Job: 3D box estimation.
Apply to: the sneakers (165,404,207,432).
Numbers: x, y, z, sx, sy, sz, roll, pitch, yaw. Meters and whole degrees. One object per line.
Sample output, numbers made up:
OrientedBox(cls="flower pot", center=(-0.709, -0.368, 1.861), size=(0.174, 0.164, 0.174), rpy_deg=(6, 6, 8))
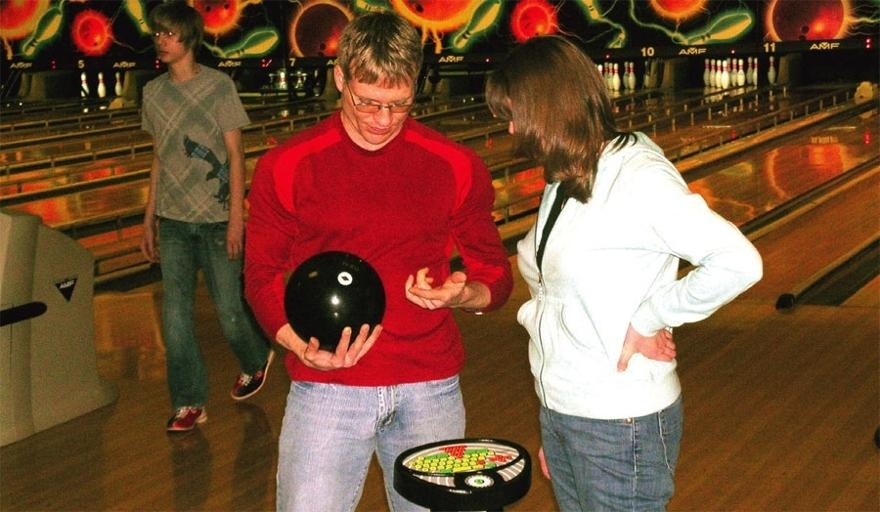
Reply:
OrientedBox(cls="sneakers", center=(-1.275, 0.826, 3.111), size=(0.094, 0.102, 0.237), rpy_deg=(-2, -3, 28))

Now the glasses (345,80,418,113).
OrientedBox(cls="glasses", center=(-0.172, -0.457, 1.743), size=(0.196, 0.088, 0.091), rpy_deg=(-3, 16, -8))
